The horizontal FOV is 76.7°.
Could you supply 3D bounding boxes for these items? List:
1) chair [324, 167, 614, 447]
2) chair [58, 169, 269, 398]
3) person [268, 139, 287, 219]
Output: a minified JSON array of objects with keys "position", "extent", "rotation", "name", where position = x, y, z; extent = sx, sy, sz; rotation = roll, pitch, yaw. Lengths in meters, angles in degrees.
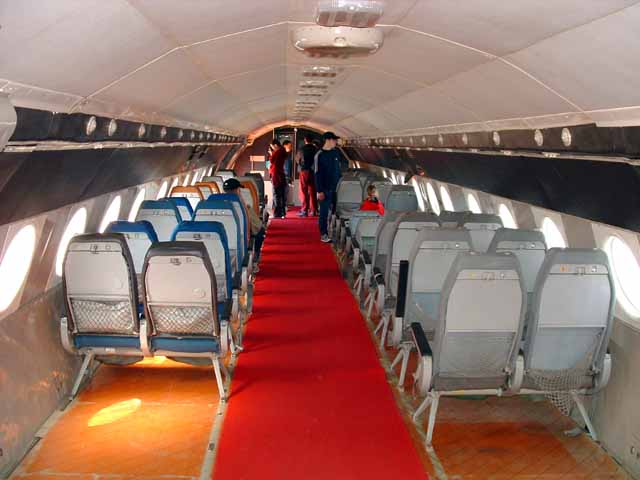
[{"position":[1.932,0.797,5.200],"extent":[1.803,1.640,2.596],"rotation":[1,10,-1],"name":"chair"},{"position":[-1.954,0.662,5.242],"extent":[1.488,1.377,2.142],"rotation":[0,9,-5],"name":"chair"},{"position":[-1.582,-2.197,15.143],"extent":[0.610,2.878,1.034],"rotation":[0,14,-6],"name":"person"}]
